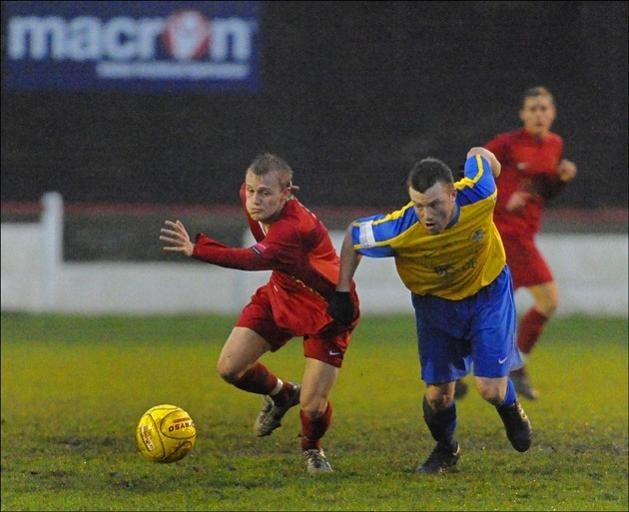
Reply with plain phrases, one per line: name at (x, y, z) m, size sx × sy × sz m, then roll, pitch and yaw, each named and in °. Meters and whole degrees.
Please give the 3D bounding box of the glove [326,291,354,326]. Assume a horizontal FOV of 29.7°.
glove at (0.223, 0.447, 9.910) m, size 0.203 × 0.280 × 0.279 m, roll -3°, pitch -21°, yaw 6°

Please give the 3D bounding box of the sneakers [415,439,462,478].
sneakers at (1.078, 1.731, 10.184) m, size 0.470 × 0.211 × 0.176 m, roll -9°, pitch 11°, yaw -36°

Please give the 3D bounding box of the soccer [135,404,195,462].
soccer at (-1.251, 1.512, 9.965) m, size 0.477 × 0.490 × 0.198 m, roll -2°, pitch 4°, yaw -10°

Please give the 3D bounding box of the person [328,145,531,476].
person at (1.056, 0.489, 9.933) m, size 1.449 × 2.732 × 0.684 m, roll -3°, pitch 5°, yaw -23°
